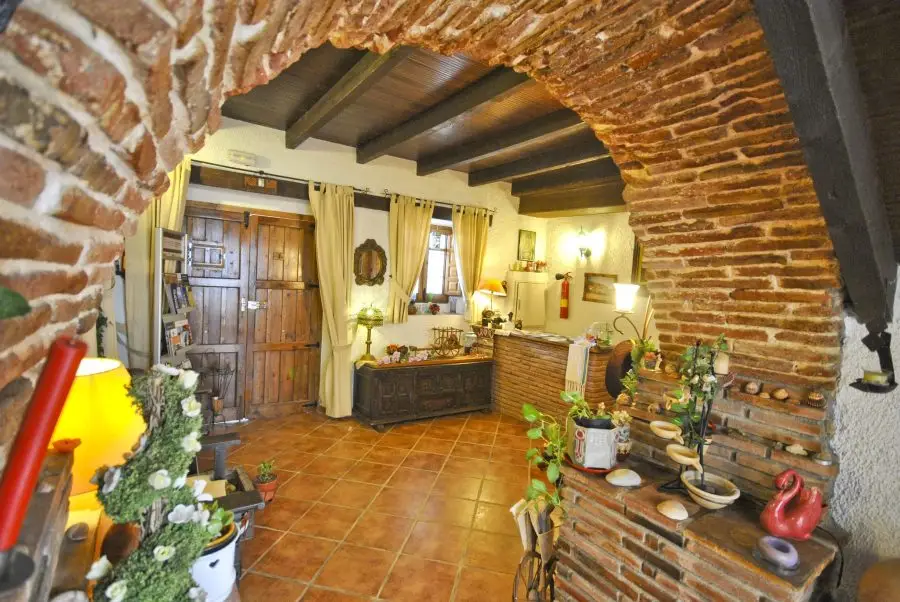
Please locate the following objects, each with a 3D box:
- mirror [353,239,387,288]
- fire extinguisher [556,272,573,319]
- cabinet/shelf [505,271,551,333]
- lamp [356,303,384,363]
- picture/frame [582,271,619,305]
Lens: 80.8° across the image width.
[{"bbox_3d":[-0.960,-0.446,6.225,0.604,0.679,0.043,0,5,-38],"label":"mirror"},{"bbox_3d":[1.656,-0.069,7.694,0.140,0.687,0.318,-1,10,-23],"label":"fire extinguisher"},{"bbox_3d":[1.116,0.018,7.606,0.759,0.895,0.246,-5,13,-41],"label":"cabinet/shelf"},{"bbox_3d":[-0.937,0.371,6.138,0.289,0.614,0.406,2,9,-10],"label":"lamp"},{"bbox_3d":[2.028,-0.170,7.041,0.031,0.361,0.429,0,8,-38],"label":"picture/frame"}]
